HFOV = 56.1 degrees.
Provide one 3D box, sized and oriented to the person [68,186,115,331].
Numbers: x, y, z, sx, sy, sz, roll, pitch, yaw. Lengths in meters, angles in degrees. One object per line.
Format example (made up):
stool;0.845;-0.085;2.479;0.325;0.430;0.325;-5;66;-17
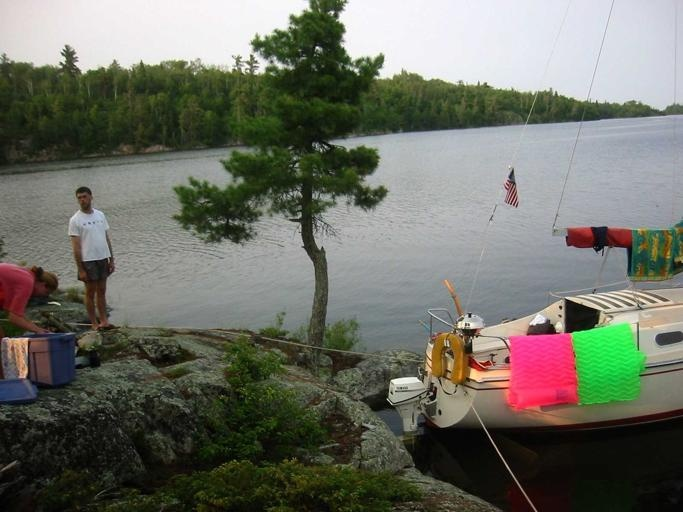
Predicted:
person;-5.461;0.112;14.014;0.622;3.217;1.121;9;8;22

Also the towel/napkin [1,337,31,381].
towel/napkin;-5.402;1.705;10.666;0.692;0.935;0.128;2;5;24
